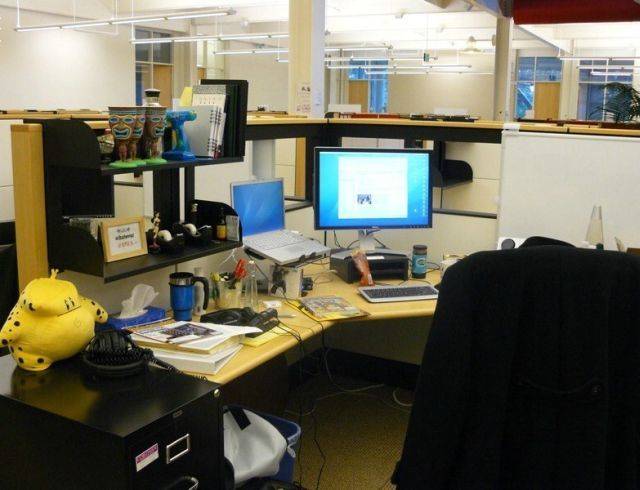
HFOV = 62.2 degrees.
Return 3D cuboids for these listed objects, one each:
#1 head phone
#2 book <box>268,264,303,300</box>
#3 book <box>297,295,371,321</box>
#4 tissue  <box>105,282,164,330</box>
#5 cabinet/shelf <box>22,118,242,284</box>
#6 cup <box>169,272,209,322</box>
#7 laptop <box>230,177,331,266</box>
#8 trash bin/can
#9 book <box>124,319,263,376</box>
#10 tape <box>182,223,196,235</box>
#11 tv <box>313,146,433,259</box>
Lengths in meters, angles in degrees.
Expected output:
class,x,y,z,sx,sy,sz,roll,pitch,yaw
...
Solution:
class,x,y,z,sx,sy,sz,roll,pitch,yaw
head phone,-0.672,0.358,1.724,0.127,0.061,0.175,1,6,-20
book,-0.169,0.177,2.654,0.155,0.157,0.153,2,5,19
book,0.040,0.288,2.444,0.252,0.027,0.290,-5,15,-25
tissue ,-0.758,0.183,2.167,0.134,0.189,0.266,8,11,22
cabinet/shelf,-0.809,-0.188,2.156,0.418,0.628,0.699,10,16,32
cup,-0.573,0.227,2.285,0.188,0.230,0.126,-1,1,-35
laptop,-0.241,-0.114,2.780,0.465,0.371,0.432,28,24,30
trash bin/can,-0.224,0.838,2.087,0.308,0.273,0.394,-1,14,-11
book,-0.496,0.367,1.952,0.238,0.061,0.234,6,10,23
tape,-0.586,-0.071,2.364,0.058,0.046,0.042,38,13,25
tv,0.299,-0.246,2.935,0.625,0.475,0.052,1,4,-6
